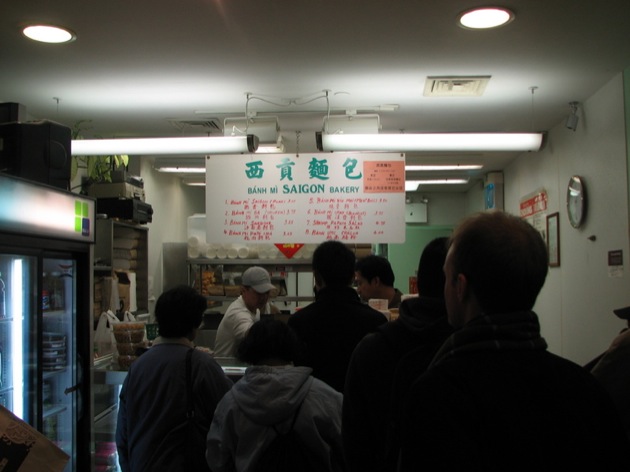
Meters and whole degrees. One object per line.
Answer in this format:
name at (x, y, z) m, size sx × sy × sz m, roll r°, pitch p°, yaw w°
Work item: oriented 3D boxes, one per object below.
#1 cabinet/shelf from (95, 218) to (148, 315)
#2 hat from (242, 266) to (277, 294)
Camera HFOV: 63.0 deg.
cabinet/shelf at (-2.134, 0.303, 5.615) m, size 0.303 × 0.926 × 0.971 m, roll -2°, pitch -9°, yaw 3°
hat at (-0.431, 0.341, 3.967) m, size 0.230 × 0.145 × 0.165 m, roll 8°, pitch 6°, yaw 29°
